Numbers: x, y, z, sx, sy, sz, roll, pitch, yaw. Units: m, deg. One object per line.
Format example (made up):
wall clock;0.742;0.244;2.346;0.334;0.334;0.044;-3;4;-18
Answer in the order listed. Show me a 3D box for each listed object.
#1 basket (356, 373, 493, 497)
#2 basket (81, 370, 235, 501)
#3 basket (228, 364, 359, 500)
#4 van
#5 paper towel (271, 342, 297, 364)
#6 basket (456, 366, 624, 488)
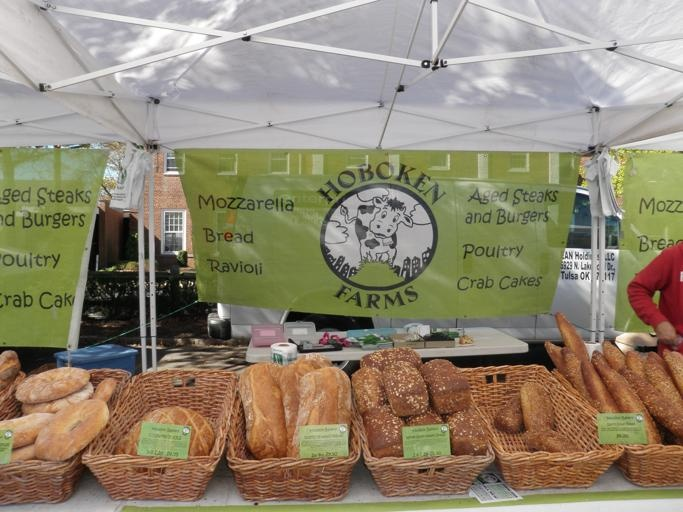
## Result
basket;0.453;1.083;3.511;0.689;0.280;0.863;0;10;1
basket;-0.948;0.963;3.405;0.701;0.266;0.843;6;27;-2
basket;-0.284;0.955;3.441;0.610;0.237;0.770;1;8;-3
van;1.252;0.136;7.395;4.164;1.839;2.213;-1;1;-4
paper towel;-0.325;0.549;3.406;0.133;0.083;0.125;0;0;8
basket;1.150;0.941;3.524;0.566;0.216;0.763;-1;9;-3
